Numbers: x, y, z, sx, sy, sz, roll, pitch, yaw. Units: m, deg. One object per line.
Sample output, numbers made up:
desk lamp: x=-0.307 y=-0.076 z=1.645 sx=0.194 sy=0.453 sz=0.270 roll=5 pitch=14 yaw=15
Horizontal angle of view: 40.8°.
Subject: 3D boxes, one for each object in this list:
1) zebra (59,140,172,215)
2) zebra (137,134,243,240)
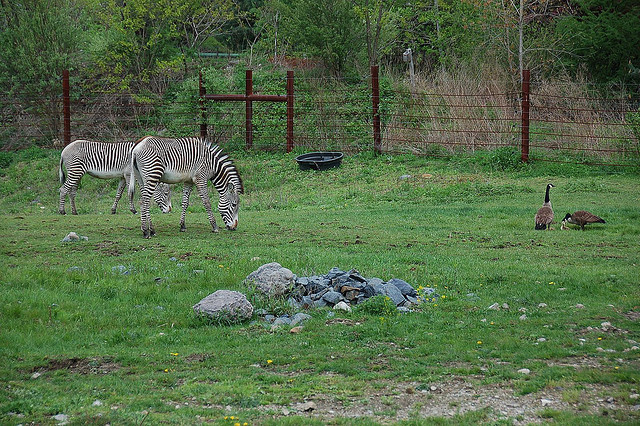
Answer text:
zebra: x=-6.805 y=-1.203 z=28.730 sx=4.266 sy=2.847 sz=1.041 roll=6 pitch=-1 yaw=17
zebra: x=-4.047 y=-0.851 z=26.017 sx=3.635 sy=2.858 sz=1.080 roll=2 pitch=0 yaw=-30
